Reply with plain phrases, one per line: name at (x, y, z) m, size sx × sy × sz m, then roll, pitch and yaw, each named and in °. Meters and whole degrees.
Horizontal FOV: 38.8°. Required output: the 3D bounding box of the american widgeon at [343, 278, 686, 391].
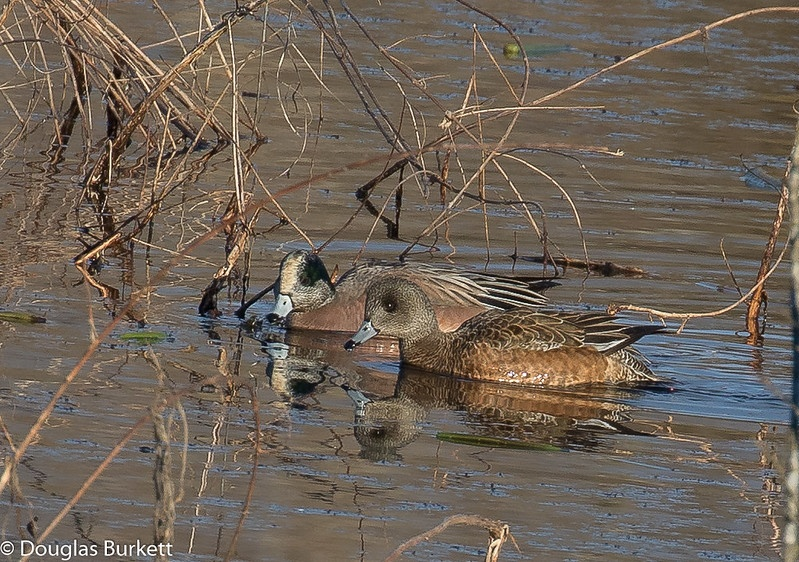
american widgeon at (0.990, 0.544, 9.834) m, size 3.120 × 0.690 × 0.807 m, roll 1°, pitch 4°, yaw -24°
